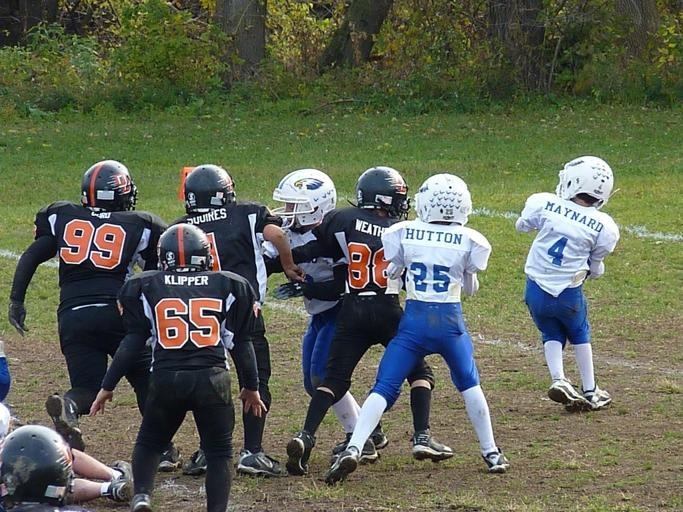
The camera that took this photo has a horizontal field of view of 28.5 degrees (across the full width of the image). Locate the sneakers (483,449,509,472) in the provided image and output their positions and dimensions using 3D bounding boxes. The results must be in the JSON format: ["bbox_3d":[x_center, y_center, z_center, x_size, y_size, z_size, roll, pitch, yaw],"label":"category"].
[{"bbox_3d":[1.755,2.286,15.255,0.296,0.265,0.222,4,9,13],"label":"sneakers"}]

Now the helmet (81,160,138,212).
[{"bbox_3d":[-2.790,-0.819,15.724,0.520,0.527,0.691,16,14,23],"label":"helmet"}]

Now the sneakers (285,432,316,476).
[{"bbox_3d":[-0.462,2.195,15.215,0.228,0.595,0.286,24,47,22],"label":"sneakers"}]

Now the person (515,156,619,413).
[{"bbox_3d":[2.804,0.311,16.373,1.046,2.984,0.915,0,10,-14],"label":"person"}]

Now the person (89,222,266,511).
[{"bbox_3d":[-1.656,1.175,14.501,1.588,2.932,0.911,1,9,-4],"label":"person"}]

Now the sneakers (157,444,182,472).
[{"bbox_3d":[-1.968,2.325,15.488,0.170,0.170,0.402,0,5,3],"label":"sneakers"}]

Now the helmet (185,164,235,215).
[{"bbox_3d":[-1.574,-0.789,15.712,0.648,0.483,0.471,-19,22,-39],"label":"helmet"}]

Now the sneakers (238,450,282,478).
[{"bbox_3d":[-0.940,2.350,15.275,0.527,0.229,0.236,6,-6,-13],"label":"sneakers"}]
